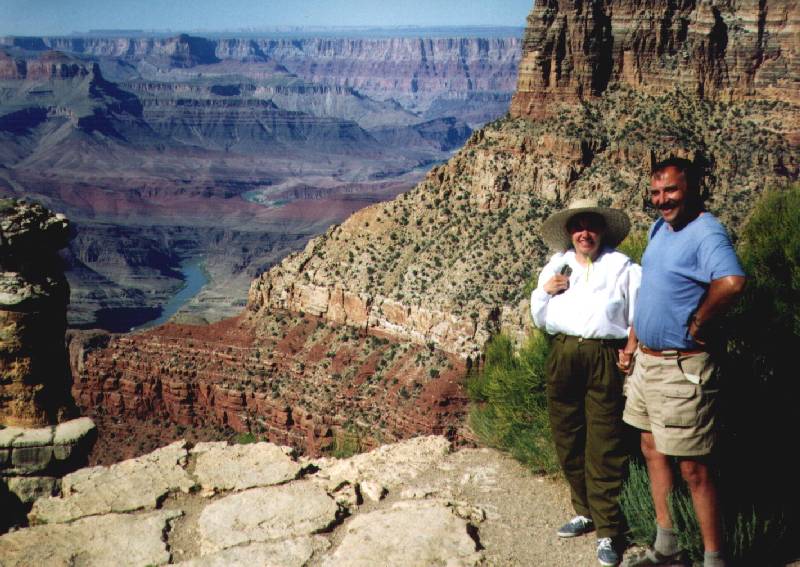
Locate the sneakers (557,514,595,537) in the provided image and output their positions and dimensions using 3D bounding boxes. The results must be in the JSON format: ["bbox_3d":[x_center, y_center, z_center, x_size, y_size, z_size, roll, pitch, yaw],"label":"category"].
[{"bbox_3d":[2.679,3.747,12.696,0.622,0.270,0.249,-5,32,0],"label":"sneakers"}]
